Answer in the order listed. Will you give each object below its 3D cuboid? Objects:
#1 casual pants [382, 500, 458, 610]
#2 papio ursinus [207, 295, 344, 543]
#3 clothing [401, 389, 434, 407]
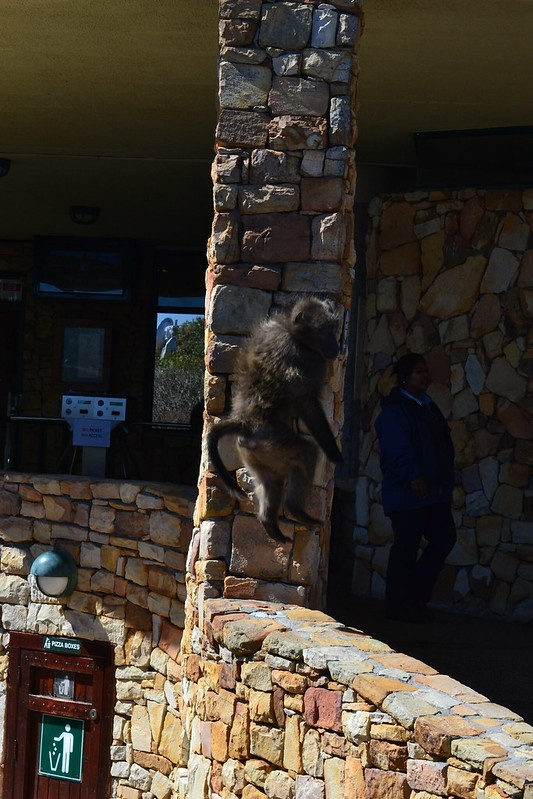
[{"bbox_3d":[1.036,1.058,4.697,0.478,0.706,0.285,-1,7,0],"label":"casual pants"},{"bbox_3d":[0.087,0.115,2.661,0.556,0.973,0.321,3,8,30],"label":"papio ursinus"},{"bbox_3d":[1.047,-0.008,4.890,0.166,0.062,0.127,16,-7,8],"label":"clothing"}]
